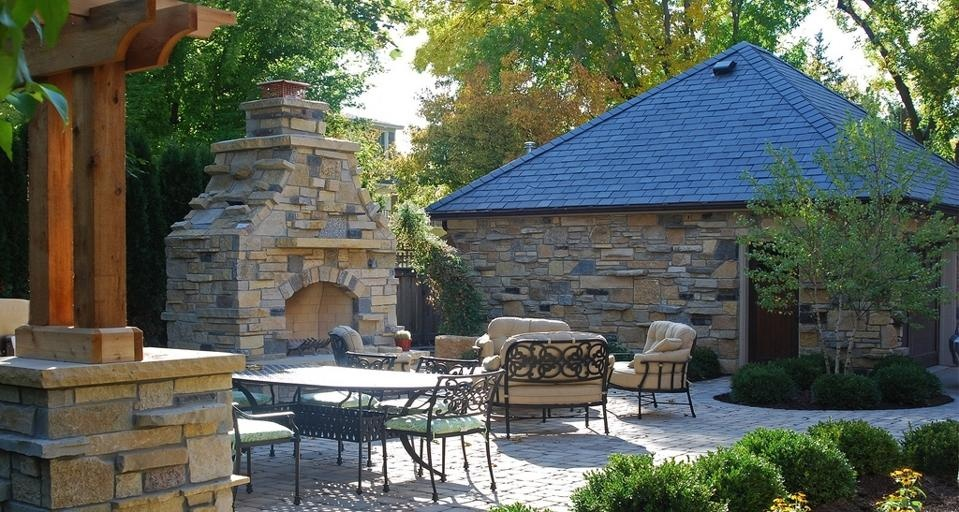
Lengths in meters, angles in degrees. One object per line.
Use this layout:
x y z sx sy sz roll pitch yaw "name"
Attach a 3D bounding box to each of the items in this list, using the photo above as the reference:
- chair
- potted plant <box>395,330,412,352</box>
-1.344 2.456 15.266 3.399 1.661 1.532 3 13 10 "chair"
-1.454 1.674 20.359 0.388 0.387 0.369 0 -6 -10 "potted plant"
